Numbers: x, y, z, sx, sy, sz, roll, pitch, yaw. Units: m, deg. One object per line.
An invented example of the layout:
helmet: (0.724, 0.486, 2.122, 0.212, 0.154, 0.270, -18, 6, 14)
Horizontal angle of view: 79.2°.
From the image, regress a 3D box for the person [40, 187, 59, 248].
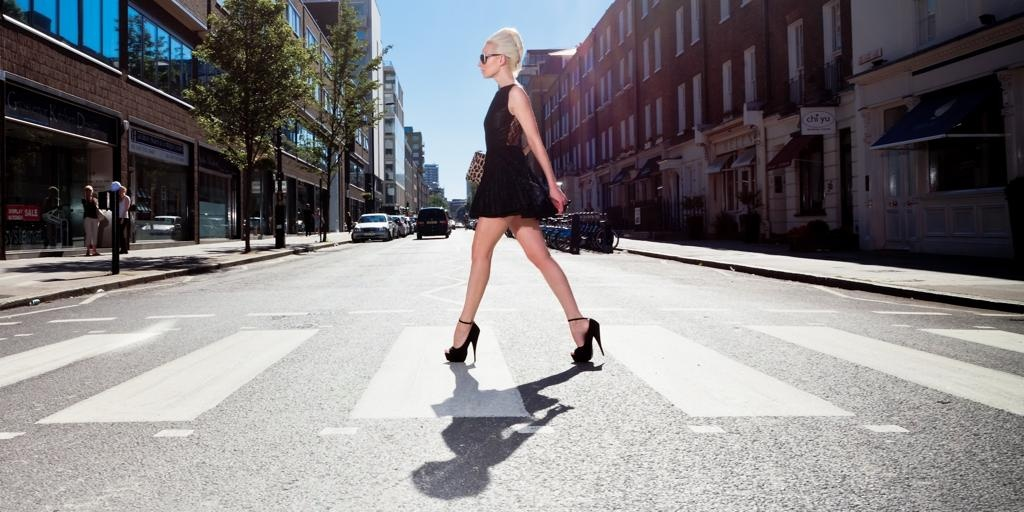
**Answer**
person: (-16.587, -1.438, 22.259, 0.256, 1.900, 0.892, -4, 3, -6)
